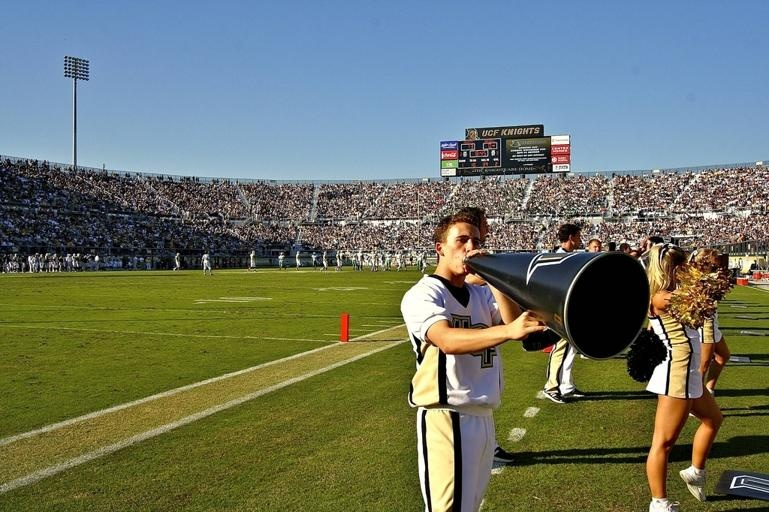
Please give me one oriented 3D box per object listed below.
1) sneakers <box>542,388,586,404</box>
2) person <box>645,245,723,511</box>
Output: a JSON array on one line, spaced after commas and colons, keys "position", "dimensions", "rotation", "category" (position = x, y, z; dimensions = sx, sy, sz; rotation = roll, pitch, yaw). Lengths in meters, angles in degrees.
[{"position": [2.175, 1.694, 7.173], "dimensions": [0.508, 0.209, 0.175], "rotation": [-3, 5, 21], "category": "sneakers"}, {"position": [2.415, 0.989, 4.786], "dimensions": [0.604, 2.153, 1.547], "rotation": [3, 5, 28], "category": "person"}]
